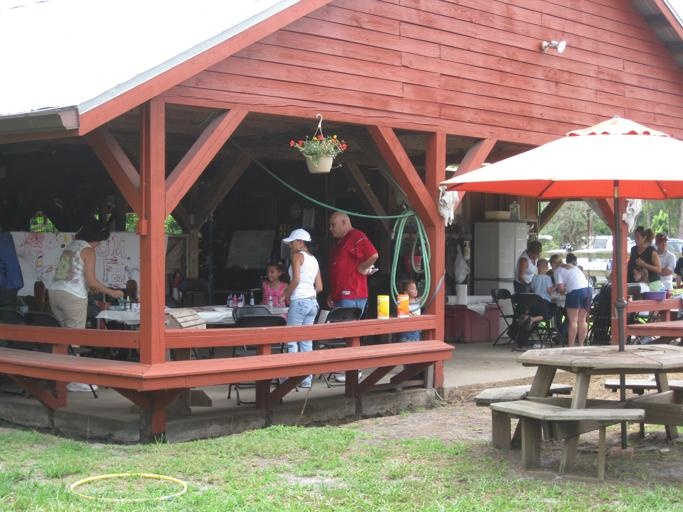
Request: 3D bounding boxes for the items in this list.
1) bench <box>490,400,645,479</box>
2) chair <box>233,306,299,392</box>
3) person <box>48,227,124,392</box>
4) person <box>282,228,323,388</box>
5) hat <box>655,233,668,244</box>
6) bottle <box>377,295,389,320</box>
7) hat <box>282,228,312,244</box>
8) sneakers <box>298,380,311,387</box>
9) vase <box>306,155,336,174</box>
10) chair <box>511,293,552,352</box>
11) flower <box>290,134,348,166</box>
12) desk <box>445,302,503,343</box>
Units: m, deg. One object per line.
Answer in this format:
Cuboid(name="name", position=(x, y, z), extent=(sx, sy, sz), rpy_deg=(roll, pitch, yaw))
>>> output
Cuboid(name="bench", position=(1.700, 1.351, 6.108), extent=(0.627, 0.292, 0.905), rpy_deg=(-3, -4, 39))
Cuboid(name="chair", position=(-0.905, 0.803, 8.397), extent=(0.595, 0.902, 0.670), rpy_deg=(2, -28, -17))
Cuboid(name="person", position=(-2.858, 0.524, 8.792), extent=(0.865, 1.867, 0.794), rpy_deg=(8, 3, 12))
Cuboid(name="person", position=(-0.534, 0.576, 9.028), extent=(0.542, 1.741, 0.531), rpy_deg=(0, -7, 28))
Cuboid(name="hat", position=(5.414, -0.304, 13.161), extent=(0.166, 0.183, 0.195), rpy_deg=(-2, 2, 5))
Cuboid(name="bottle", position=(0.475, 0.564, 8.697), extent=(0.105, 0.238, 0.213), rpy_deg=(1, -4, -5))
Cuboid(name="hat", position=(-0.502, -0.266, 9.045), extent=(0.307, 0.160, 0.205), rpy_deg=(4, -5, -6))
Cuboid(name="sneakers", position=(-0.405, 1.432, 8.779), extent=(0.081, 0.091, 0.220), rpy_deg=(2, -8, -15))
Cuboid(name="vase", position=(-0.231, -0.988, 8.431), extent=(0.328, 0.191, 0.318), rpy_deg=(0, -3, -3))
Cuboid(name="chair", position=(2.996, 1.012, 12.549), extent=(0.827, 1.035, 0.832), rpy_deg=(2, 9, 20))
Cuboid(name="flower", position=(-0.265, -1.329, 9.590), extent=(0.727, 0.338, 0.691), rpy_deg=(2, 6, -7))
Cuboid(name="desk", position=(2.111, 1.188, 13.958), extent=(1.475, 0.630, 1.451), rpy_deg=(-3, -4, 29))
